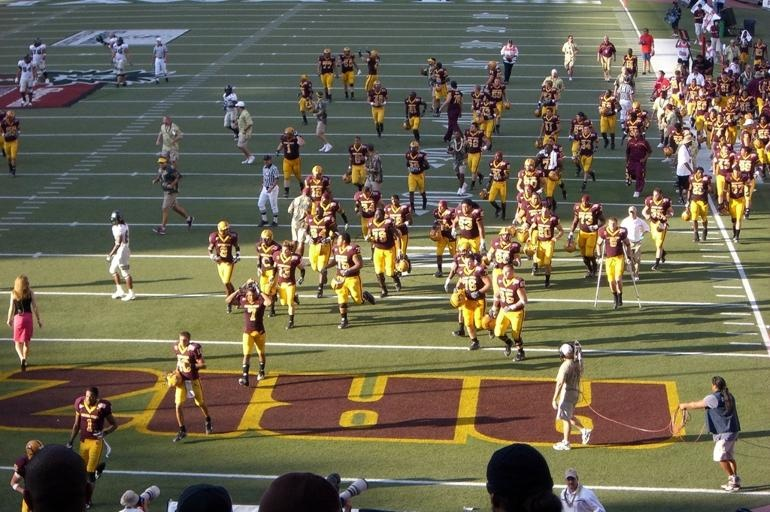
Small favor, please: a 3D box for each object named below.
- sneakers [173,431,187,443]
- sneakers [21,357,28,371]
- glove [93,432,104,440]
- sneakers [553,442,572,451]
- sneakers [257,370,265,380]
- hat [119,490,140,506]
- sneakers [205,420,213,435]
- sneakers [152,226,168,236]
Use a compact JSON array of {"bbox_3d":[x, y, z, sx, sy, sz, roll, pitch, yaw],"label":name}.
[{"bbox_3d":[-4.780,4.202,33.015,0.284,0.235,0.176,-2,6,-7],"label":"sneakers"},{"bbox_3d":[-8.960,2.677,35.112,0.155,0.306,0.296,-3,6,-16],"label":"sneakers"},{"bbox_3d":[-6.369,3.995,31.681,0.200,0.192,0.079,-2,6,-10],"label":"glove"},{"bbox_3d":[4.073,4.360,32.460,0.480,0.186,0.168,1,5,6],"label":"sneakers"},{"bbox_3d":[-3.027,2.888,34.624,0.208,0.275,0.255,-1,6,1],"label":"sneakers"},{"bbox_3d":[-5.338,5.118,29.774,0.375,0.385,0.380,-2,6,-9],"label":"hat"},{"bbox_3d":[-4.116,3.966,33.192,0.178,0.332,0.238,-2,6,-8],"label":"sneakers"},{"bbox_3d":[-6.540,-0.788,41.370,0.438,0.244,0.167,16,9,-12],"label":"sneakers"}]
